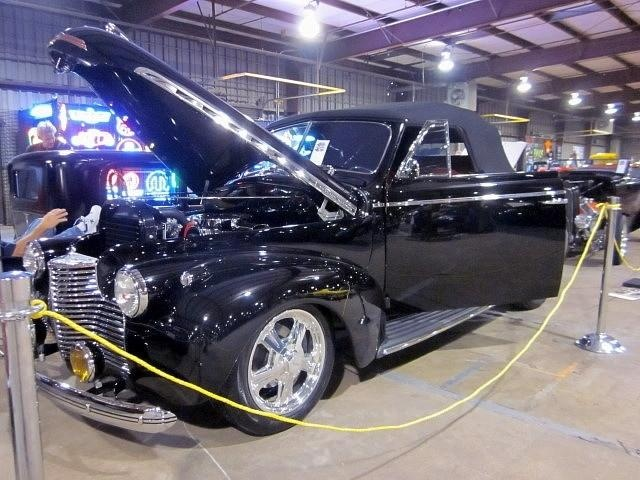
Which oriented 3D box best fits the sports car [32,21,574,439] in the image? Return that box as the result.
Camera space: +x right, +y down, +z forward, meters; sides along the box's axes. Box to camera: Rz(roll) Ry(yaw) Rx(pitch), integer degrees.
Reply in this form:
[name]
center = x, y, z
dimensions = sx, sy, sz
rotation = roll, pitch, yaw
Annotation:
[sports car]
center = 0.423, -0.071, 3.734
dimensions = 4.673, 1.824, 2.204
rotation = -2, 4, -33
